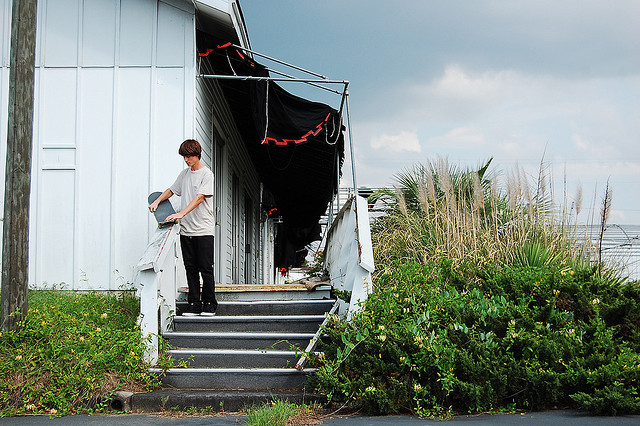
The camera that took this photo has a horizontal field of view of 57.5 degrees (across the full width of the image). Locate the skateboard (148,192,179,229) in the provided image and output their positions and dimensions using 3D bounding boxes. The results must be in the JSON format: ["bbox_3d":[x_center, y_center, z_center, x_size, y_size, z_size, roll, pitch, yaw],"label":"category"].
[{"bbox_3d":[-2.076,0.073,7.922,0.604,0.089,0.182,28,20,32],"label":"skateboard"}]

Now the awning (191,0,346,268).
[{"bbox_3d":[-0.711,-0.862,12.019,2.397,4.479,6.658,3,0,2],"label":"awning"}]

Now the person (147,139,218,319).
[{"bbox_3d":[-1.777,0.220,7.999,0.813,2.411,0.557,3,0,-1],"label":"person"}]
